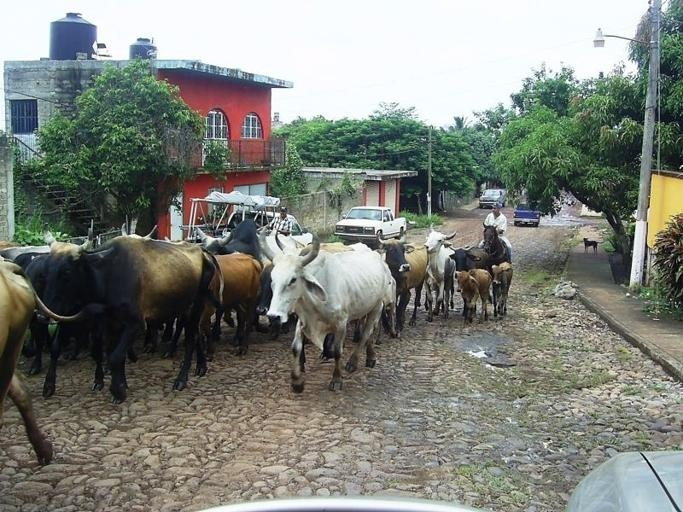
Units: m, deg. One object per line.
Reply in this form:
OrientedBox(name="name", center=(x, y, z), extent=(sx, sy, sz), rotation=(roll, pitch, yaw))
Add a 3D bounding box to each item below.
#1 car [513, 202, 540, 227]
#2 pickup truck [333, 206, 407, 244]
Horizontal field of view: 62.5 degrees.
OrientedBox(name="car", center=(12.225, -2.736, 37.380), extent=(1.496, 1.470, 1.351), rotation=(4, 8, 13))
OrientedBox(name="pickup truck", center=(1.390, -1.511, 26.296), extent=(1.551, 1.294, 3.450), rotation=(2, 7, 22))
